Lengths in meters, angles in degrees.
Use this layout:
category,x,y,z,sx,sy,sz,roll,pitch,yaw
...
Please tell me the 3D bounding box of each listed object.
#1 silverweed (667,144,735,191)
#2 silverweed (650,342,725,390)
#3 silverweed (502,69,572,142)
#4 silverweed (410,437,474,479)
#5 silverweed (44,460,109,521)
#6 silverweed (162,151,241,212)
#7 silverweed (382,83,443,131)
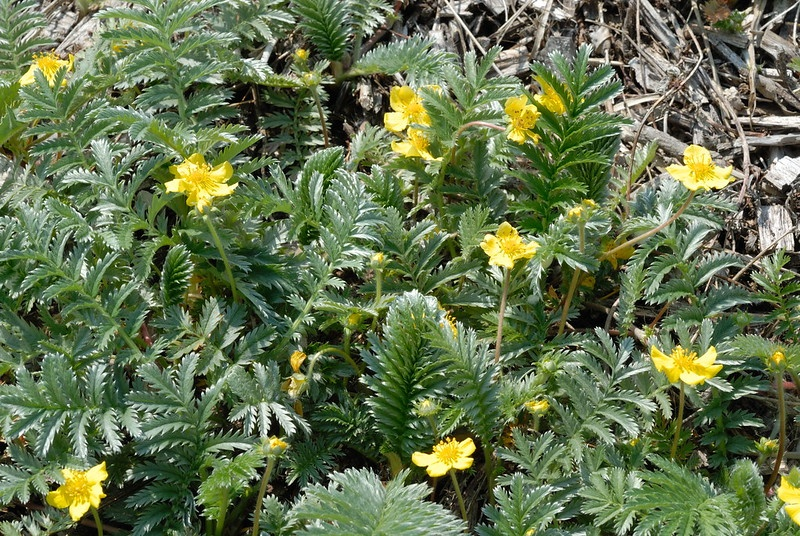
category,x,y,z,sx,sy,sz,roll,pitch,yaw
silverweed,1.537,-0.507,4.213,0.242,0.198,0.079,8,31,-32
silverweed,1.347,0.440,3.921,0.302,0.124,0.365,12,16,43
silverweed,0.730,-0.823,4.538,0.327,0.158,0.377,25,55,18
silverweed,0.215,0.879,3.838,0.213,0.128,0.220,-19,25,-20
silverweed,-1.521,1.056,3.938,0.280,0.200,0.248,8,62,1
silverweed,-1.014,-0.483,4.243,0.300,0.333,0.117,0,80,3
silverweed,0.050,-0.868,4.685,0.258,0.177,0.240,8,62,1
